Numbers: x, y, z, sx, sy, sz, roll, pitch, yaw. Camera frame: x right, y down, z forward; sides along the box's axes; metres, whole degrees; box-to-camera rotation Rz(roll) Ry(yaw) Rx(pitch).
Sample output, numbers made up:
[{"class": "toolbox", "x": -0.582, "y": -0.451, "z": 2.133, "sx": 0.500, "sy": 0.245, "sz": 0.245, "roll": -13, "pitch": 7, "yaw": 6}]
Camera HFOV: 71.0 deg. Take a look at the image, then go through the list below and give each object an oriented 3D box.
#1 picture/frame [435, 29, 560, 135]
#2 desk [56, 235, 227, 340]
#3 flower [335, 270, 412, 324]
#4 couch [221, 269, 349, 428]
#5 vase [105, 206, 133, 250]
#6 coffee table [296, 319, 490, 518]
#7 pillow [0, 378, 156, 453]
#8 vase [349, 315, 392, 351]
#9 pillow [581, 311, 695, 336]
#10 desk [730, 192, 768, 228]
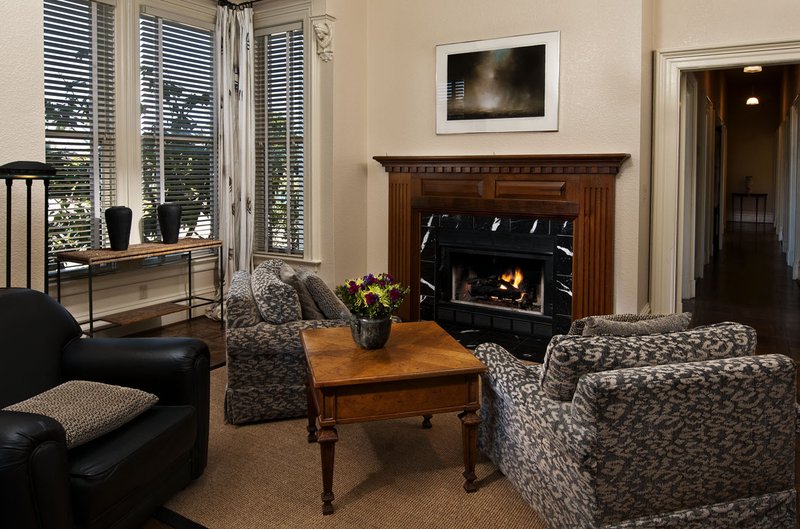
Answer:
[{"class": "picture/frame", "x": 0.991, "y": -1.795, "z": 5.432, "sx": 1.083, "sy": 0.806, "sz": 0.024, "roll": 3, "pitch": 7, "yaw": 28}, {"class": "desk", "x": -2.485, "y": 0.224, "z": 5.516, "sx": 0.438, "sy": 0.816, "sz": 1.530, "roll": 6, "pitch": 9, "yaw": 26}, {"class": "flower", "x": -0.176, "y": 0.180, "z": 3.549, "sx": 0.325, "sy": 0.228, "sz": 0.335, "roll": 2, "pitch": 2, "yaw": 17}, {"class": "couch", "x": -0.876, "y": 0.506, "z": 4.703, "sx": 1.227, "sy": 0.974, "sz": 1.616, "roll": 2, "pitch": 10, "yaw": -12}, {"class": "vase", "x": -2.578, "y": -0.342, "z": 5.155, "sx": 0.209, "sy": 0.392, "sz": 0.228, "roll": -8, "pitch": 16, "yaw": -28}, {"class": "coffee table", "x": -0.163, "y": 0.841, "z": 3.590, "sx": 0.910, "sy": 0.683, "sz": 1.080, "roll": -2, "pitch": 4, "yaw": -16}, {"class": "pillow", "x": -1.715, "y": 0.767, "z": 3.063, "sx": 0.487, "sy": 0.135, "sz": 0.530, "roll": 8, "pitch": 17, "yaw": 27}, {"class": "vase", "x": -0.179, "y": 0.417, "z": 3.490, "sx": 0.218, "sy": 0.161, "sz": 0.222, "roll": 0, "pitch": 6, "yaw": 0}, {"class": "pillow", "x": 1.251, "y": 0.328, "z": 2.948, "sx": 0.608, "sy": 0.135, "sz": 0.168, "roll": 0, "pitch": 8, "yaw": -8}, {"class": "desk", "x": 9.495, "y": -1.527, "z": 15.209, "sx": 1.025, "sy": 1.036, "sz": 0.472, "roll": 0, "pitch": 0, "yaw": 32}]
